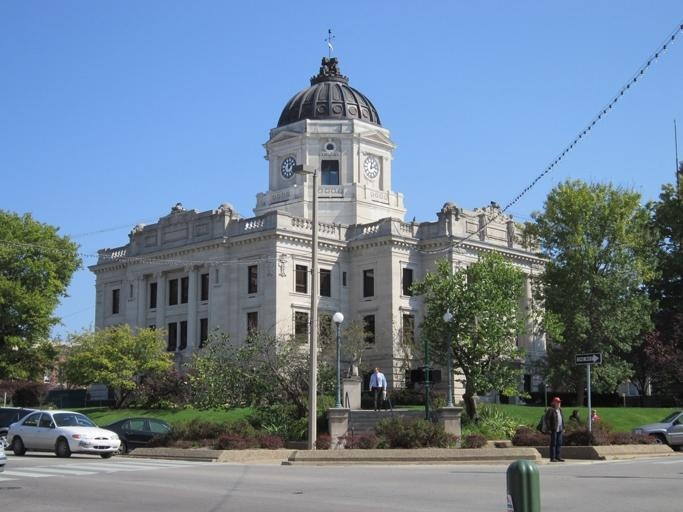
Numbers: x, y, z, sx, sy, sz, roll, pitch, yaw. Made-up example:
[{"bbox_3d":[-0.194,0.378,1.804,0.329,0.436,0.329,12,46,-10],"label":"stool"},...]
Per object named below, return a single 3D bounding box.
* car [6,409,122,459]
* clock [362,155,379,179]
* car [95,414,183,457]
[{"bbox_3d":[-12.057,7.719,44.499,4.678,2.167,1.738,-7,-18,24],"label":"car"},{"bbox_3d":[2.351,-7.306,84.673,0.146,1.476,1.435,-9,-37,41],"label":"clock"},{"bbox_3d":[-9.772,8.709,49.524,3.104,1.160,1.508,0,-3,-12],"label":"car"}]
